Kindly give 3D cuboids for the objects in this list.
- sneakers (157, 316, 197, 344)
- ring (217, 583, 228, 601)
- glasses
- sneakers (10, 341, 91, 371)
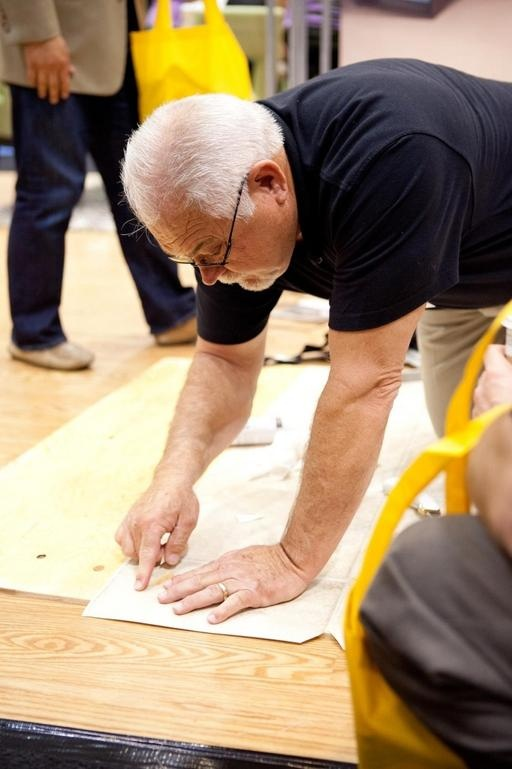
[{"bbox_3d":[-0.308,-0.189,2.777,0.133,0.167,0.067,-17,71,0],"label":"sneakers"},{"bbox_3d":[-0.055,0.331,1.158,0.007,0.021,0.021,-14,36,-9],"label":"ring"},{"bbox_3d":[-0.058,-0.240,1.116,0.036,0.110,0.113,17,1,-22],"label":"glasses"},{"bbox_3d":[-0.713,-0.092,2.509,0.237,0.084,0.114,0,15,8],"label":"sneakers"}]
